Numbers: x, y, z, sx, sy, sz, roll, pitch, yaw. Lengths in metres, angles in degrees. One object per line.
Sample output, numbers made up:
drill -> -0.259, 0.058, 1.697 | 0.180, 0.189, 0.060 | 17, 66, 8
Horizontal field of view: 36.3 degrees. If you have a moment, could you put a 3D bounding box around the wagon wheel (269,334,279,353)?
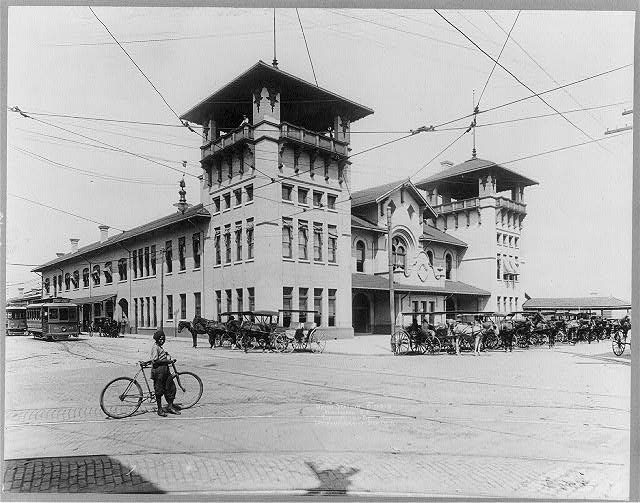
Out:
wagon wheel -> -1.655, 3.298, 35.306 | 0.339, 0.685, 0.187 | 0, 12, -2

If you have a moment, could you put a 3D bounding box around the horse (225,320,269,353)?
horse -> -2.493, 3.056, 35.095 | 1.761, 1.251, 0.497 | 4, -3, -18

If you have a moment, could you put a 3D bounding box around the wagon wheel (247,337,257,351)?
wagon wheel -> -2.477, 3.304, 35.245 | 0.437, 0.320, 0.277 | -3, 3, -37

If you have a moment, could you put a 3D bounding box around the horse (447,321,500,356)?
horse -> 5.786, 3.226, 37.205 | 1.885, 1.472, 0.646 | 2, 15, 28

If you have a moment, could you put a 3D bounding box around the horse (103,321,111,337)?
horse -> -7.630, 2.791, 35.069 | 0.317, 0.347, 0.517 | 2, -9, -19

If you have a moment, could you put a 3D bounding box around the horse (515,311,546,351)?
horse -> 9.061, 3.345, 42.079 | 2.084, 1.426, 0.941 | -5, 0, -23

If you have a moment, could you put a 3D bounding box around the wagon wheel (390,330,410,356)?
wagon wheel -> 3.044, 3.498, 37.046 | 0.093, 0.791, 0.712 | 3, 11, -35

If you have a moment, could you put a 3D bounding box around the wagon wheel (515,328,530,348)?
wagon wheel -> 8.524, 3.690, 41.221 | 0.478, 0.842, 1.306 | 0, 13, -3

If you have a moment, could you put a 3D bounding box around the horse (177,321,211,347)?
horse -> -4.431, 2.897, 34.234 | 0.910, 0.959, 1.544 | -7, 15, -30

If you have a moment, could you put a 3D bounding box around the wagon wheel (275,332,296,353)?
wagon wheel -> -1.257, 3.304, 35.450 | 0.650, 0.711, 0.698 | -1, -8, 0

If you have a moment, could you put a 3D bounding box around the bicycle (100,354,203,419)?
bicycle -> -4.844, 3.867, 27.789 | 2.573, 1.602, 1.146 | -3, -21, 22

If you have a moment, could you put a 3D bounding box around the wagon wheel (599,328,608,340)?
wagon wheel -> 12.911, 3.752, 44.461 | 0.312, 0.693, 0.597 | 3, 13, 11

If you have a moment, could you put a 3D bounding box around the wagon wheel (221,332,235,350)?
wagon wheel -> -3.323, 3.247, 35.081 | 0.508, 0.719, 0.570 | -1, -2, -2

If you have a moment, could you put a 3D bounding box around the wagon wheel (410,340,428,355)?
wagon wheel -> 3.735, 3.563, 36.982 | 0.662, 0.577, 0.660 | 1, 13, 0

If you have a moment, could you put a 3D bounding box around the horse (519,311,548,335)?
horse -> 9.431, 3.115, 42.546 | 1.417, 1.032, 0.746 | -3, -1, -15
